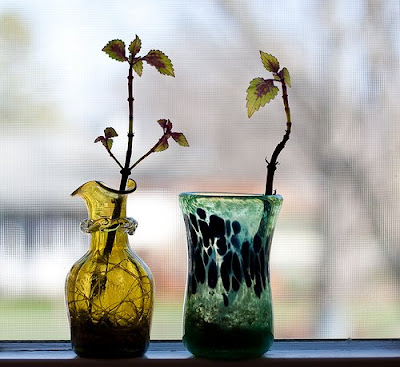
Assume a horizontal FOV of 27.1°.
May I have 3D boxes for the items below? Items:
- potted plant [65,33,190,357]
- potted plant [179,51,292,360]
[{"bbox_3d":[-0.130,0.016,1.534,0.208,0.606,0.158,3,-8,-9],"label":"potted plant"},{"bbox_3d":[0.062,0.043,1.518,0.198,0.548,0.154,2,-7,-2],"label":"potted plant"}]
